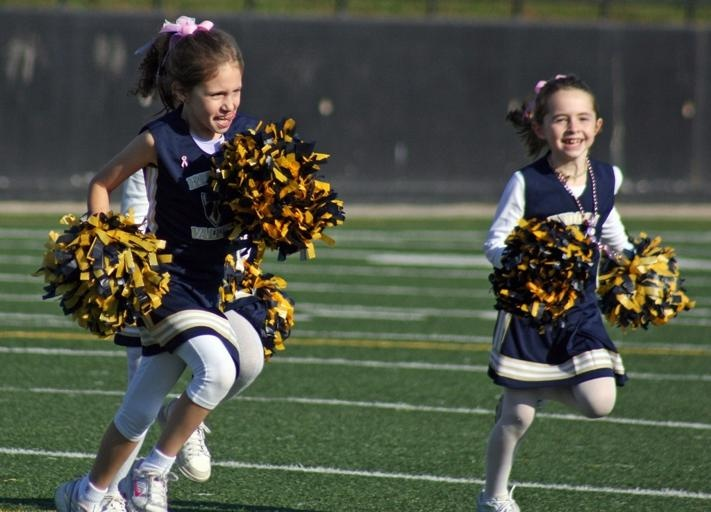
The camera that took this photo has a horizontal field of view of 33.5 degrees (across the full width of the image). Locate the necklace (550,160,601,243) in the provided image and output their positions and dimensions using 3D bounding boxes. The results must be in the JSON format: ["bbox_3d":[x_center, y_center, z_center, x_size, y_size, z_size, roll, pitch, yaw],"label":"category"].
[{"bbox_3d":[1.242,-0.303,6.517,0.162,0.481,0.038,-17,-4,-15],"label":"necklace"}]
